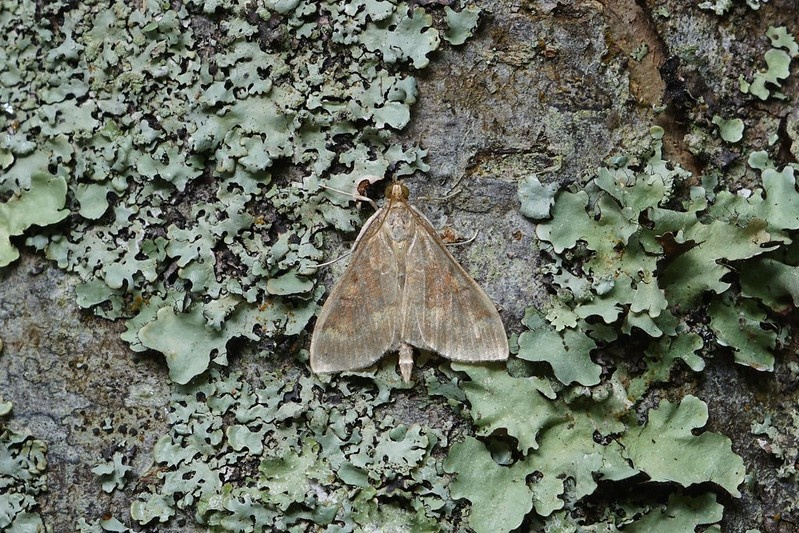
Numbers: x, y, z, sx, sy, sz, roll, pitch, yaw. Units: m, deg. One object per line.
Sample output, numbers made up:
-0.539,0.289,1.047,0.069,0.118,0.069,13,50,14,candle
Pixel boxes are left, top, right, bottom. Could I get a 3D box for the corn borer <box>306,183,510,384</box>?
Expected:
0.059,0.114,5.003,0.993,0.257,0.896,4,74,-1,corn borer
